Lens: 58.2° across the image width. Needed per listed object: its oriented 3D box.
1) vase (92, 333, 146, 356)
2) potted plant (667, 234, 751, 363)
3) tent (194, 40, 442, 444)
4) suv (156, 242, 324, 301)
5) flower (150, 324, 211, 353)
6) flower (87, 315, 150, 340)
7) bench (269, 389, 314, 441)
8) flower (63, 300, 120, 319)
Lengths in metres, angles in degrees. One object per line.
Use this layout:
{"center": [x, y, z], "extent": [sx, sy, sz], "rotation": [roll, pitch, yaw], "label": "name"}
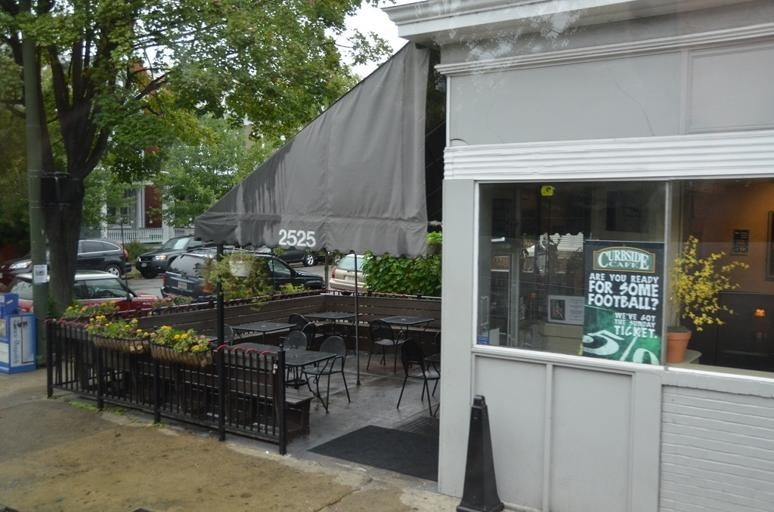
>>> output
{"center": [-4.111, 1.369, 10.816], "extent": [1.104, 0.288, 0.143], "rotation": [6, 13, 28], "label": "vase"}
{"center": [3.532, 0.491, 7.835], "extent": [0.749, 1.386, 0.291], "rotation": [0, 11, -2], "label": "potted plant"}
{"center": [-0.642, -1.428, 9.369], "extent": [2.651, 2.735, 0.811], "rotation": [4, 12, 17], "label": "tent"}
{"center": [-3.841, 0.823, 19.318], "extent": [4.186, 1.640, 2.064], "rotation": [-5, 7, -34], "label": "suv"}
{"center": [-3.027, 1.250, 10.353], "extent": [0.708, 0.254, 0.486], "rotation": [10, -2, 34], "label": "flower"}
{"center": [-4.336, 1.166, 11.121], "extent": [0.803, 0.302, 0.618], "rotation": [7, -2, 21], "label": "flower"}
{"center": [-1.328, 2.291, 10.087], "extent": [0.654, 0.632, 0.424], "rotation": [-6, -35, 15], "label": "bench"}
{"center": [-5.517, 1.028, 12.992], "extent": [0.909, 0.233, 1.537], "rotation": [-5, 12, -25], "label": "flower"}
